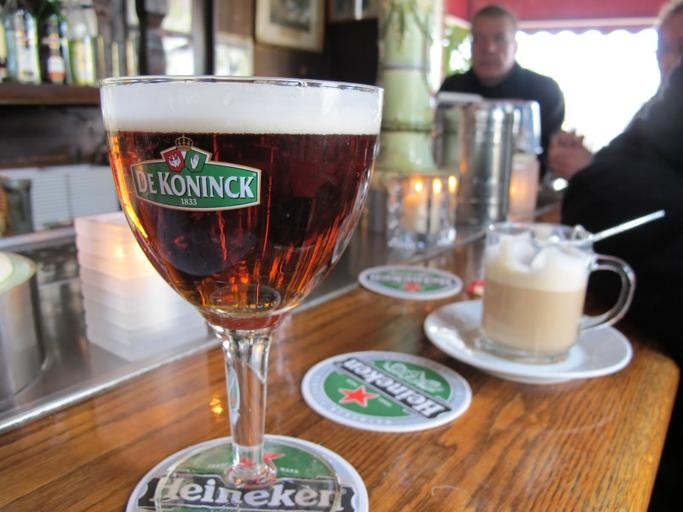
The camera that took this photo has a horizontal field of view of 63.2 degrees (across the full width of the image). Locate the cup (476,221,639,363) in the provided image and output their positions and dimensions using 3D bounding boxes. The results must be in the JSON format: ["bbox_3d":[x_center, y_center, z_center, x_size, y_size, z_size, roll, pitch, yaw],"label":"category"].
[{"bbox_3d":[0.265,0.059,0.686,0.183,0.149,0.114,6,4,13],"label":"cup"}]

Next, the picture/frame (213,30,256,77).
[{"bbox_3d":[-0.789,-1.479,4.141,0.020,0.243,0.410,1,18,24],"label":"picture/frame"}]
